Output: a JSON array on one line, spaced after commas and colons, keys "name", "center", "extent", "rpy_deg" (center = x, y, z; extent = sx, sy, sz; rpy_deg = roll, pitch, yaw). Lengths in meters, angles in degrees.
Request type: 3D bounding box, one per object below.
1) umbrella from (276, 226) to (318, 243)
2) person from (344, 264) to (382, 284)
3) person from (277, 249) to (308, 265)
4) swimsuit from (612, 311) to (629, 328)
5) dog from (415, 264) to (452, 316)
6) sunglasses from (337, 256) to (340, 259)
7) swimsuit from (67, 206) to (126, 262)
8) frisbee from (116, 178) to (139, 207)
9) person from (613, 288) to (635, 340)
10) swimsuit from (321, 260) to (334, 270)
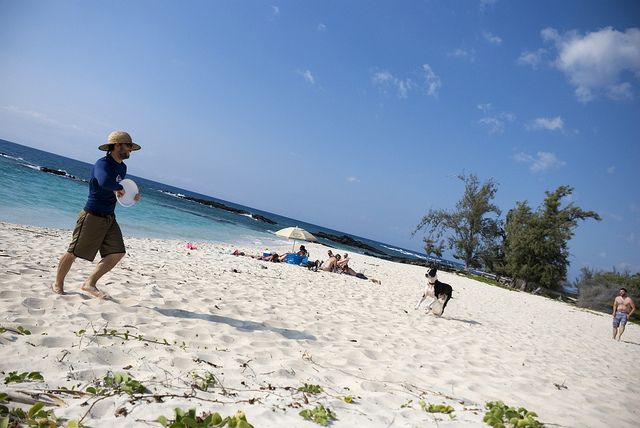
[{"name": "umbrella", "center": [-0.817, 0.673, 14.874], "extent": [0.853, 0.254, 0.829], "rpy_deg": [4, -10, 46]}, {"name": "person", "center": [1.489, 1.992, 14.483], "extent": [1.139, 0.249, 0.610], "rpy_deg": [16, 25, 22]}, {"name": "person", "center": [-1.056, 1.431, 14.724], "extent": [0.776, 0.452, 1.473], "rpy_deg": [14, 10, 22]}, {"name": "swimsuit", "center": [9.735, 3.223, 12.803], "extent": [0.477, 0.458, 0.253], "rpy_deg": [10, 10, -3]}, {"name": "dog", "center": [3.123, 1.952, 10.690], "extent": [0.751, 1.235, 0.776], "rpy_deg": [13, 10, 16]}, {"name": "sunglasses", "center": [0.701, 1.465, 14.607], "extent": [0.038, 0.106, 0.212], "rpy_deg": [15, 11, 21]}, {"name": "swimsuit", "center": [-4.174, 0.286, 7.374], "extent": [0.559, 0.906, 1.022], "rpy_deg": [2, 0, 31]}, {"name": "frisbee", "center": [-3.546, -0.434, 7.294], "extent": [0.321, 0.445, 0.354], "rpy_deg": [6, 11, -24]}, {"name": "person", "center": [9.867, 3.121, 12.928], "extent": [0.504, 1.475, 1.208], "rpy_deg": [19, 13, 37]}, {"name": "swimsuit", "center": [0.297, 1.751, 14.653], "extent": [0.104, 0.281, 0.286], "rpy_deg": [34, 34, -1]}]
